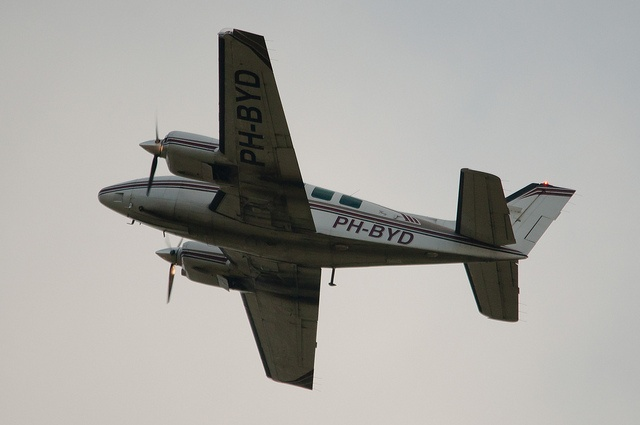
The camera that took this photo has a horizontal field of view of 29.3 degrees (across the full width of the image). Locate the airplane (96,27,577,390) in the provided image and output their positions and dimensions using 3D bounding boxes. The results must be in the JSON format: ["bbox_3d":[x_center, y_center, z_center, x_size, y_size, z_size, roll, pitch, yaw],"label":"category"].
[{"bbox_3d":[0.246,-0.174,37.097,14.082,4.424,16.896,11,-38,9],"label":"airplane"}]
